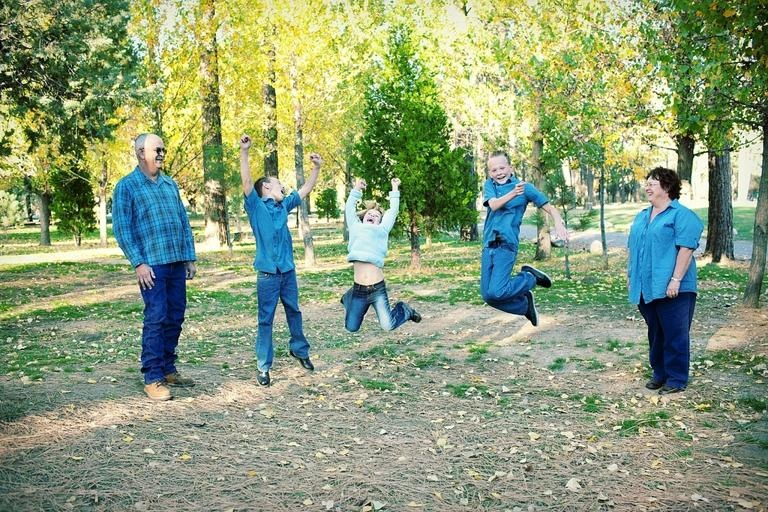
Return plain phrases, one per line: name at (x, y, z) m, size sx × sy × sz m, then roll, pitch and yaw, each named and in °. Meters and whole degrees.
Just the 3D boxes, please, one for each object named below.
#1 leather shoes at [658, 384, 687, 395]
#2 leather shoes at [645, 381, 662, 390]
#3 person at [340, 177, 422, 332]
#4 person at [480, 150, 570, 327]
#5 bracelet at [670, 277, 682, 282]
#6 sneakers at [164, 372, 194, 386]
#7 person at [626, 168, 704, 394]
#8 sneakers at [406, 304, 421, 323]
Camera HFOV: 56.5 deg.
leather shoes at (4.814, 2.254, 12.031) m, size 0.500 × 0.169 × 0.153 m, roll 2°, pitch -5°, yaw 0°
leather shoes at (4.620, 2.222, 12.243) m, size 0.286 × 0.097 × 0.115 m, roll 0°, pitch -8°, yaw 8°
person at (-0.160, 0.044, 13.410) m, size 1.301 × 2.968 × 1.222 m, roll -2°, pitch 4°, yaw 1°
person at (2.291, -0.253, 12.847) m, size 1.175 × 3.183 × 1.037 m, roll -3°, pitch 5°, yaw -3°
bracelet at (4.782, 0.385, 11.726) m, size 0.148 × 0.075 × 0.052 m, roll -1°, pitch 4°, yaw 6°
sneakers at (-3.507, 2.124, 12.241) m, size 0.544 × 0.195 × 0.183 m, roll 2°, pitch -2°, yaw -7°
person at (4.714, 0.410, 11.984) m, size 1.139 × 3.772 × 0.577 m, roll -1°, pitch 5°, yaw 20°
sneakers at (0.576, 1.115, 13.384) m, size 0.357 × 0.152 × 0.259 m, roll 38°, pitch 6°, yaw 2°
